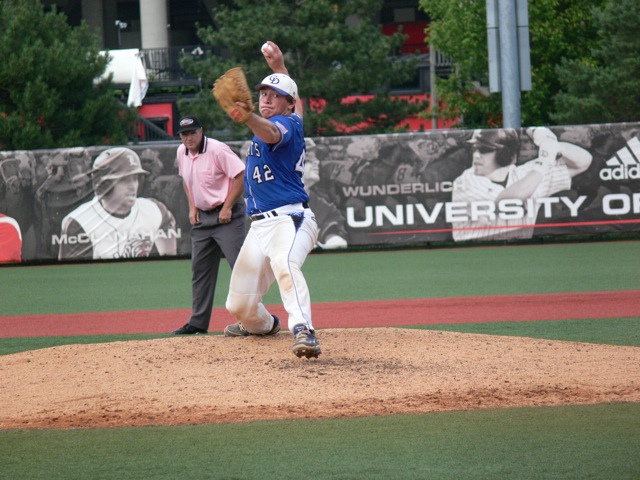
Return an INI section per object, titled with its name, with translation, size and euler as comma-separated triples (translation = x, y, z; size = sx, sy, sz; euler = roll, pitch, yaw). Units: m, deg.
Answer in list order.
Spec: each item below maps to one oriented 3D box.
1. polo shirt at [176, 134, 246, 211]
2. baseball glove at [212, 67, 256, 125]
[polo shirt]
translation = -1.875, -1.104, 23.157
size = 0.821, 1.520, 0.698
euler = 6, 10, 26
[baseball glove]
translation = -1.319, -2.186, 21.047
size = 0.577, 0.791, 0.444
euler = -5, 15, -12
